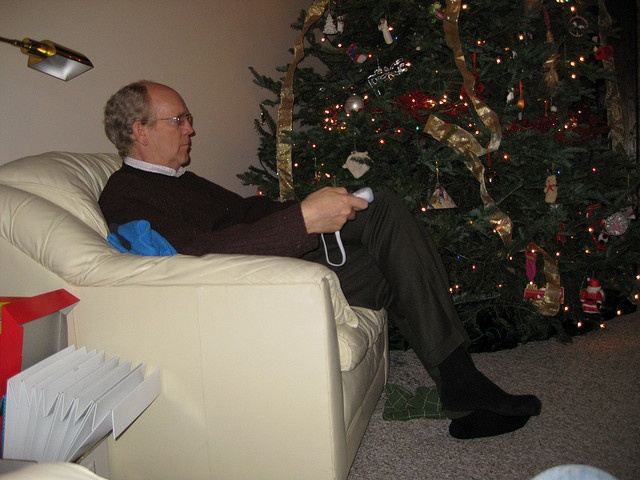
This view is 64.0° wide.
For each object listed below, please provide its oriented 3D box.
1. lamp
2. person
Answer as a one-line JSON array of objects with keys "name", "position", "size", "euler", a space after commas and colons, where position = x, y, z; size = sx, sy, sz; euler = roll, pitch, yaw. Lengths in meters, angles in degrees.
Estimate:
[{"name": "lamp", "position": [-0.913, -0.617, 1.734], "size": [0.154, 0.076, 0.275], "euler": [-25, -26, 34]}, {"name": "person", "position": [-0.004, 0.070, 1.867], "size": [1.349, 1.548, 0.670], "euler": [-11, 0, 4]}]
